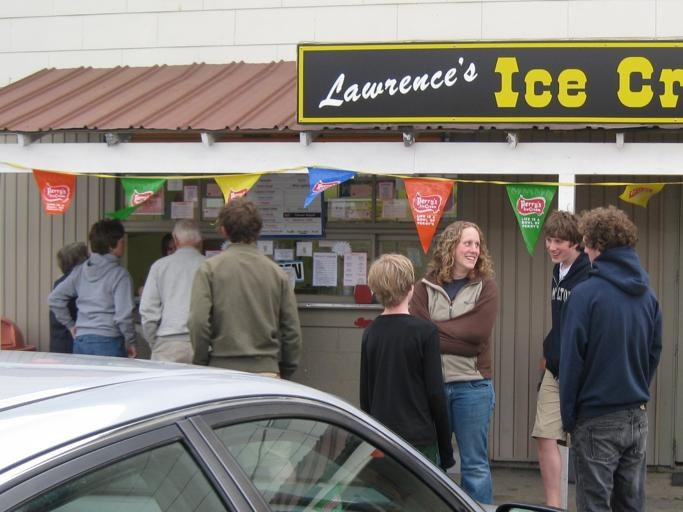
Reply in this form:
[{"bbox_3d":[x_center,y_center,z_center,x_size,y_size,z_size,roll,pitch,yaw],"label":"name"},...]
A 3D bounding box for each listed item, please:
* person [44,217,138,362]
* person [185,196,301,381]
[{"bbox_3d":[-2.218,0.281,12.118,0.790,1.232,0.408,-1,0,29],"label":"person"},{"bbox_3d":[-0.800,0.615,11.187,0.966,2.166,0.623,2,12,-9],"label":"person"}]
